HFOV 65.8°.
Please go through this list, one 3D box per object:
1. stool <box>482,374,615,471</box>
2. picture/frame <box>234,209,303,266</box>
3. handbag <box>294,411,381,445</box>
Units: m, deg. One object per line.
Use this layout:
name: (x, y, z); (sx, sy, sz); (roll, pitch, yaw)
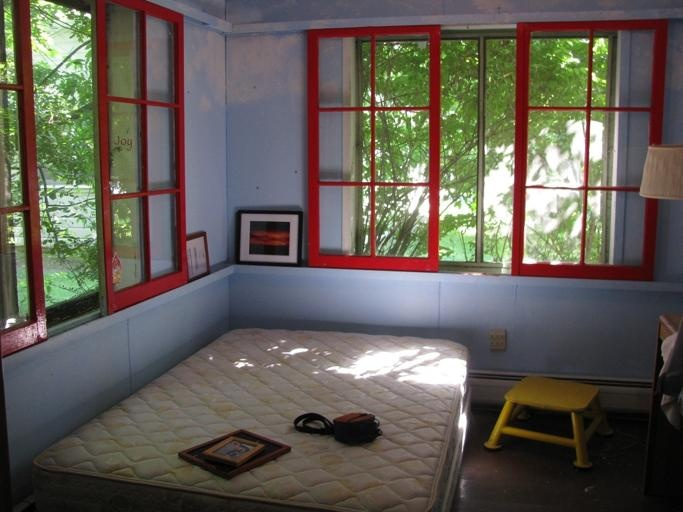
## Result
stool: (1.422, 1.035, 3.553); (0.711, 0.442, 0.763); (8, 16, 29)
picture/frame: (-0.543, -0.154, 4.157); (0.468, 0.365, 0.033); (2, 1, 9)
handbag: (-0.019, 0.851, 2.662); (0.305, 0.093, 0.185); (3, 4, 28)
